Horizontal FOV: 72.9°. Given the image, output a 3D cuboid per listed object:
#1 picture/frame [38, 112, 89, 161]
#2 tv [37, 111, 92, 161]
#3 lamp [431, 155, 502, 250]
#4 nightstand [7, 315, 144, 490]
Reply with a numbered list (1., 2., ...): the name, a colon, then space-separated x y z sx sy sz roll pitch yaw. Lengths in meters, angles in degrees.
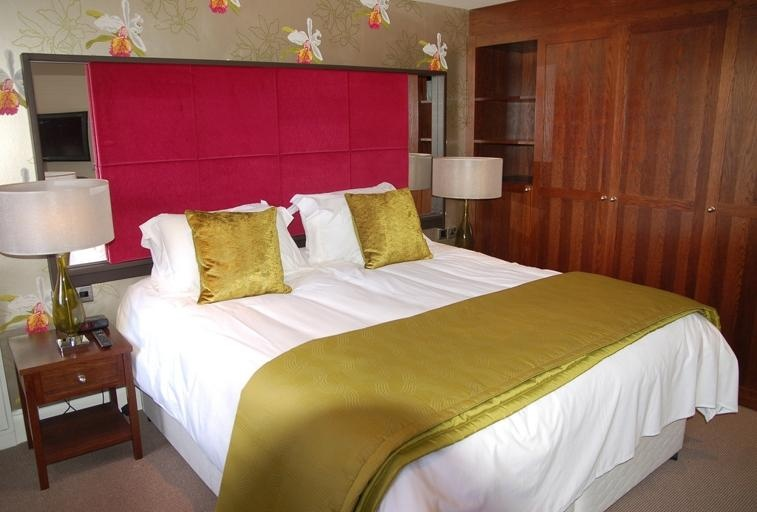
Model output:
1. picture/frame: -2.079 -0.783 3.358 0.301 0.314 0.031 -8 13 -34
2. tv: -2.075 -0.787 3.360 0.308 0.323 0.032 -7 12 -34
3. lamp: 0.851 -0.465 4.926 0.560 0.902 0.580 -3 13 -19
4. nightstand: -1.931 0.907 3.324 0.731 0.788 0.725 -1 14 -11
